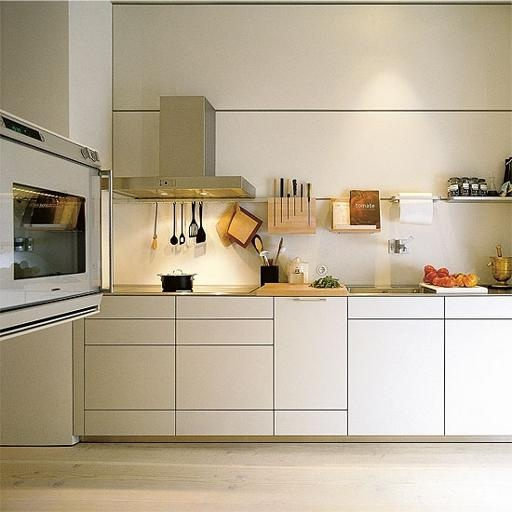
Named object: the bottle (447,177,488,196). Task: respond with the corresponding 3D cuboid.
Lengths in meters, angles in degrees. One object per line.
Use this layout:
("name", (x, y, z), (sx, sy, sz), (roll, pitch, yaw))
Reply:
("bottle", (1.448, -0.470, 3.662), (0.245, 0.124, 0.113), (3, 8, 23))

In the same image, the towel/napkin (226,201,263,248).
("towel/napkin", (-0.086, -0.214, 3.812), (0.245, 0.296, 0.130), (0, 7, 1))

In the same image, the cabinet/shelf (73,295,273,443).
("cabinet/shelf", (-0.470, 0.735, 3.616), (1.212, 0.930, 0.630), (-1, -1, 5))

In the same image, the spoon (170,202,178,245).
("spoon", (-0.599, -0.227, 3.869), (0.045, 0.309, 0.051), (5, 9, 38))

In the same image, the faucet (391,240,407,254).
("faucet", (1.010, -0.065, 3.813), (0.124, 0.133, 0.092), (0, -2, 1))

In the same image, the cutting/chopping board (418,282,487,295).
("cutting/chopping board", (1.279, 0.212, 3.449), (0.357, 0.049, 0.366), (0, 8, 4))

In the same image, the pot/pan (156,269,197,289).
("pot/pan", (-0.511, 0.174, 3.546), (0.177, 0.093, 0.142), (1, -9, -2))

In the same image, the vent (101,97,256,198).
("vent", (-0.510, -0.758, 3.727), (1.029, 0.632, 1.121), (4, 7, 20))

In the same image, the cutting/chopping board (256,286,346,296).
("cutting/chopping board", (0.289, 0.214, 3.417), (0.571, 0.045, 0.321), (0, 8, 6))
